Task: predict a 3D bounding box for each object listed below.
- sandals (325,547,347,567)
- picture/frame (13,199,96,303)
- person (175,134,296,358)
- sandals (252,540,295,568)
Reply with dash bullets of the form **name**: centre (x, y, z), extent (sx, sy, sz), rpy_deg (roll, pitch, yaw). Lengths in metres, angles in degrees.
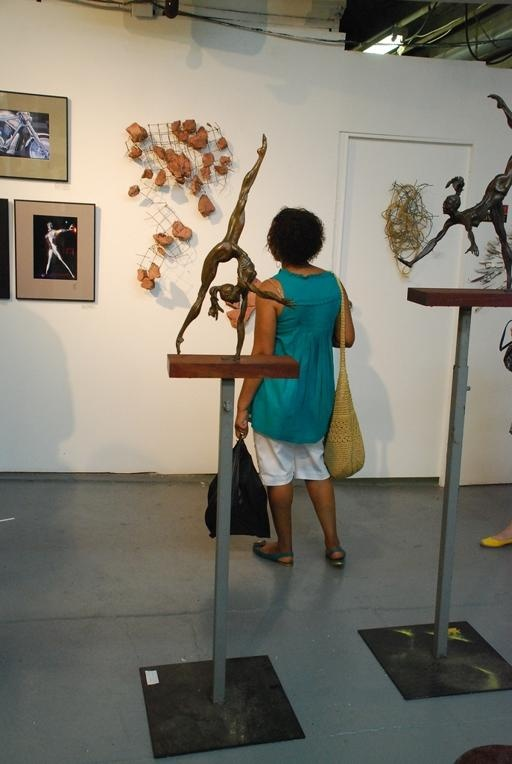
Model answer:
- **sandals**: centre (0.350, 0.777, 2.725), extent (0.056, 0.053, 0.153), rpy_deg (-1, -11, -1)
- **picture/frame**: centre (-1.102, -0.737, 3.344), extent (0.504, 0.672, 0.041), rpy_deg (0, 8, -5)
- **person**: centre (-0.078, -0.445, 1.888), extent (0.363, 0.753, 0.675), rpy_deg (3, 7, 0)
- **sandals**: centre (0.075, 0.752, 2.747), extent (0.074, 0.066, 0.193), rpy_deg (9, 4, -32)
